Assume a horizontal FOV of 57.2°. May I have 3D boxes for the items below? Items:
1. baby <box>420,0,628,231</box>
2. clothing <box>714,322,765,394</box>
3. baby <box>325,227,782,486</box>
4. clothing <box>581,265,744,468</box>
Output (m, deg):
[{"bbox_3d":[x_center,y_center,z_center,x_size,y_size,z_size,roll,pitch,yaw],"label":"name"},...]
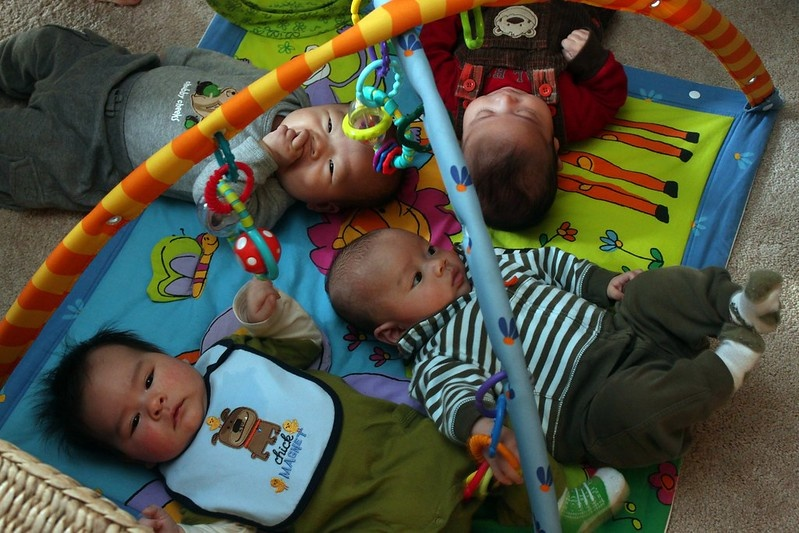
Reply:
[{"bbox_3d":[0.388,-0.544,2.218,0.483,0.258,0.826,6,57,3],"label":"baby"},{"bbox_3d":[0.839,0.209,1.816,0.104,0.084,0.187,18,79,17],"label":"clothing"},{"bbox_3d":[0.371,0.166,1.937,0.904,0.410,0.671,16,55,20],"label":"baby"},{"bbox_3d":[0.633,0.271,1.850,0.150,0.491,0.393,33,35,-38],"label":"clothing"}]
